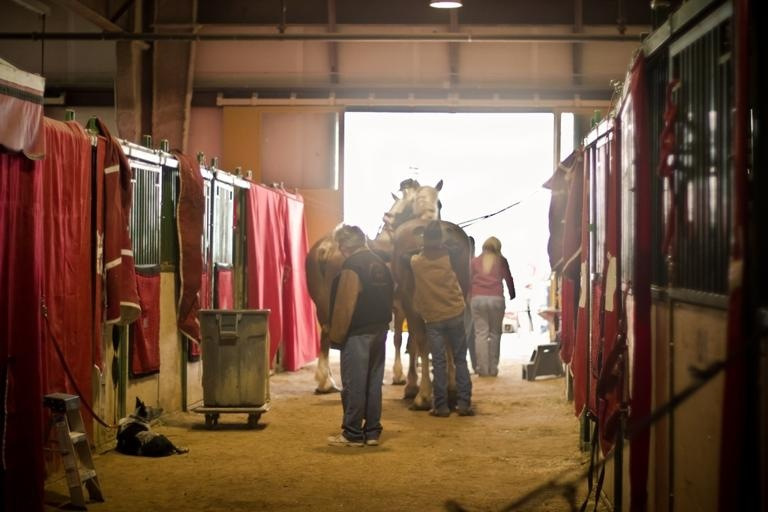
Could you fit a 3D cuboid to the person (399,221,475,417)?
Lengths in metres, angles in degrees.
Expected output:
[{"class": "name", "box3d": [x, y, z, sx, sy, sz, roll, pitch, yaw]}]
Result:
[{"class": "person", "box3d": [0.687, 0.728, 9.351, 0.710, 2.309, 0.625, 3, -5, -41]}]

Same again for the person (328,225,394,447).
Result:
[{"class": "person", "box3d": [-0.220, 0.907, 7.892, 0.621, 1.980, 0.426, 0, -4, -5]}]

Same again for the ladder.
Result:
[{"class": "ladder", "box3d": [-2.561, 1.579, 6.531, 0.473, 0.909, 0.524, 1, -4, -22]}]

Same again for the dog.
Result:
[{"class": "dog", "box3d": [-2.294, 1.677, 7.737, 0.619, 0.507, 0.417, -2, -4, 27]}]

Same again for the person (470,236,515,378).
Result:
[{"class": "person", "box3d": [1.634, 0.766, 12.178, 0.638, 2.154, 0.403, -1, -4, 13]}]
